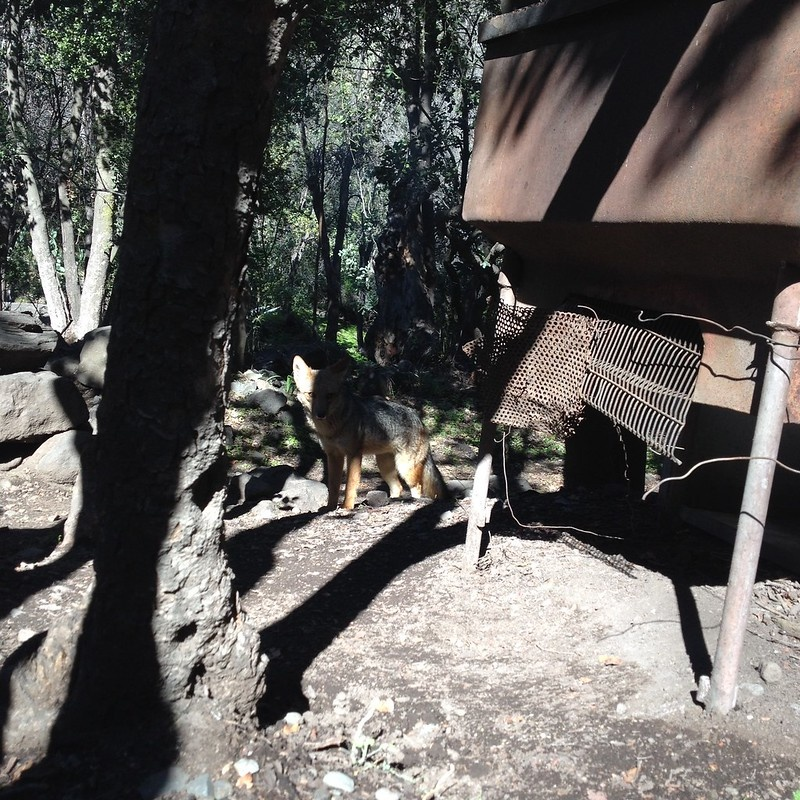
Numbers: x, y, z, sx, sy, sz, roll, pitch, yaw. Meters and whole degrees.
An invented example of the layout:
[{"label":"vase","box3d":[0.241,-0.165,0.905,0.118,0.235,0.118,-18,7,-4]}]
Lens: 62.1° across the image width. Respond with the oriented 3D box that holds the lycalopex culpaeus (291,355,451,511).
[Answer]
[{"label":"lycalopex culpaeus","box3d":[-0.259,0.477,8.117,0.597,1.754,2.606,3,-3,39]}]
